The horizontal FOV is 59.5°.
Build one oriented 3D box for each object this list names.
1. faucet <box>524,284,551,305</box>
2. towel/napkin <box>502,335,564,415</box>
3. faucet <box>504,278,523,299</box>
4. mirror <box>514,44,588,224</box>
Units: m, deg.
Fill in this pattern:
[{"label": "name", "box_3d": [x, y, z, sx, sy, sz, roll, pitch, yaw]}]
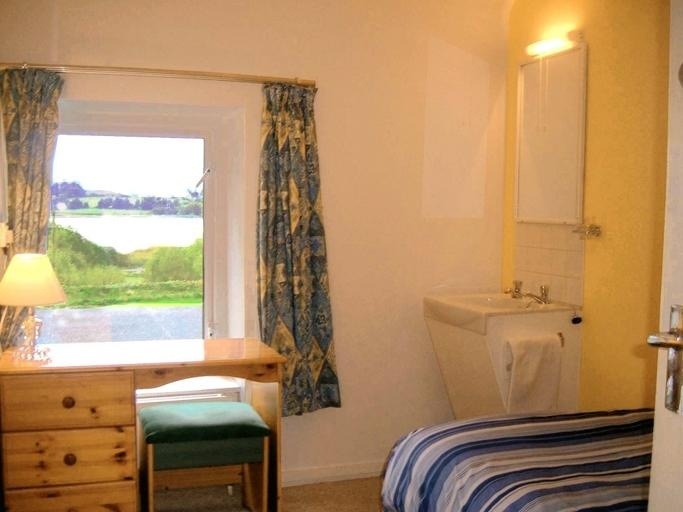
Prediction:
[{"label": "faucet", "box_3d": [1.236, 0.248, 3.766, 0.085, 0.122, 0.126, -3, 11, -28]}, {"label": "towel/napkin", "box_3d": [1.069, 0.669, 3.386, 0.424, 0.595, 0.103, -2, 6, -16]}, {"label": "faucet", "box_3d": [1.141, 0.227, 3.933, 0.088, 0.076, 0.119, 0, 3, -22]}, {"label": "mirror", "box_3d": [1.305, -0.748, 3.784, 0.047, 1.059, 0.622, -5, 9, -20]}]
